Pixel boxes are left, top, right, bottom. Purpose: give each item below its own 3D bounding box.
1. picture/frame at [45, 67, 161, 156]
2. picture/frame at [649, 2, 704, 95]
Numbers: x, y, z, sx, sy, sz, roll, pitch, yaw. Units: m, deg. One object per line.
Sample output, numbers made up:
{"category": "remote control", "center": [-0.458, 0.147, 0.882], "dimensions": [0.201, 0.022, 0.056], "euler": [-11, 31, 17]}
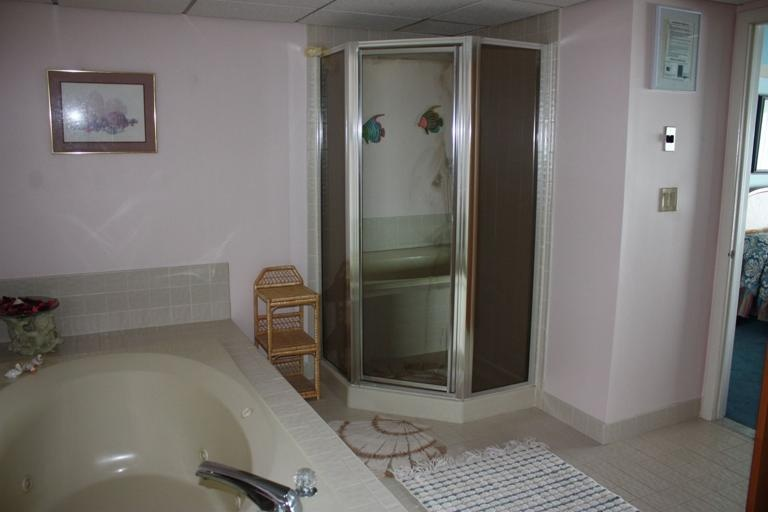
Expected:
{"category": "picture/frame", "center": [-1.954, -1.008, 3.696], "dimensions": [0.617, 0.537, 0.041], "euler": [-2, 6, -23]}
{"category": "picture/frame", "center": [1.870, -1.343, 3.484], "dimensions": [0.411, 0.525, 0.104], "euler": [-10, 15, -31]}
